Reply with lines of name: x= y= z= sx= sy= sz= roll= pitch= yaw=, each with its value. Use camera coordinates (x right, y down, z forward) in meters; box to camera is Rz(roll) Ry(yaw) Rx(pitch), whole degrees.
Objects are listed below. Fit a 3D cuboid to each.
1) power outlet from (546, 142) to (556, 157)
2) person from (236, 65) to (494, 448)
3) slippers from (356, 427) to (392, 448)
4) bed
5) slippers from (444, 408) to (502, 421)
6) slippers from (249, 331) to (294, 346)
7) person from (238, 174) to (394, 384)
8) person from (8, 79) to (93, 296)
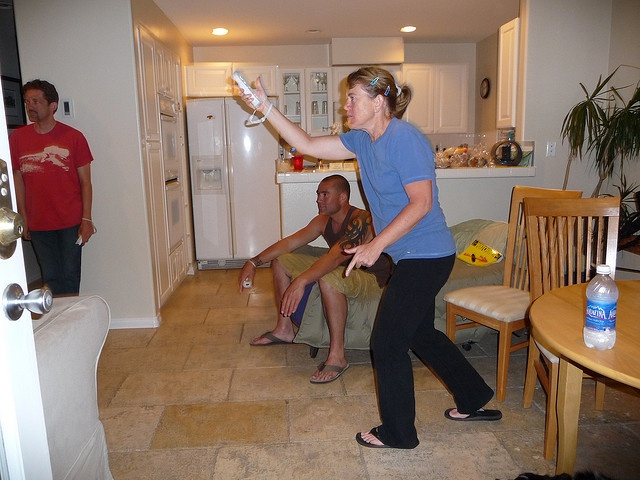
power outlet: x=2.012 y=-0.774 z=3.889 sx=0.085 sy=0.123 sz=0.025 roll=-6 pitch=14 yaw=-16
person: x=0.303 y=0.114 z=2.062 sx=0.979 sy=1.742 sz=0.601 roll=5 pitch=15 yaw=28
slippers: x=0.255 y=0.942 z=2.150 sx=0.180 sy=0.056 sz=0.073 roll=2 pitch=6 yaw=2
bed: x=0.555 y=0.246 z=3.025 sx=1.242 sy=0.506 sz=0.893 roll=-1 pitch=11 yaw=-3
slippers: x=0.790 y=0.896 z=2.287 sx=0.256 sy=0.063 sz=0.103 roll=1 pitch=2 yaw=0
slippers: x=-0.344 y=0.710 z=3.180 sx=0.299 sy=0.075 sz=0.118 roll=2 pitch=2 yaw=-4
person: x=0.014 y=0.198 z=2.927 sx=0.891 sy=1.172 sz=0.825 roll=-3 pitch=9 yaw=-30
person: x=-1.893 y=-0.347 z=3.194 sx=0.529 sy=1.485 sz=0.305 roll=-6 pitch=14 yaw=-19
